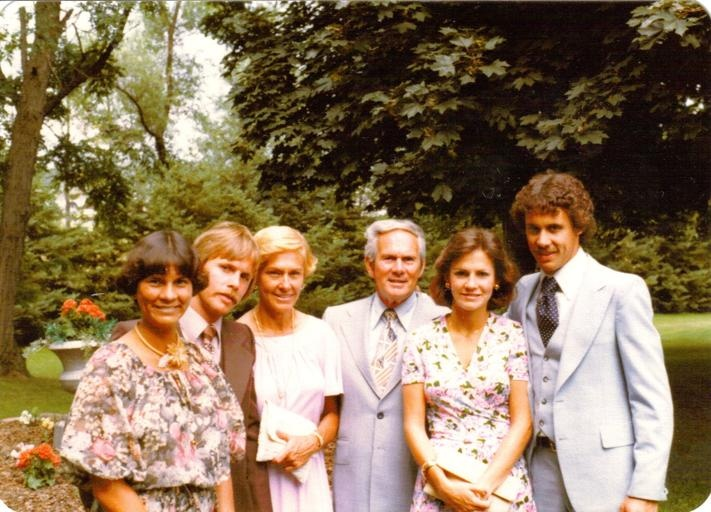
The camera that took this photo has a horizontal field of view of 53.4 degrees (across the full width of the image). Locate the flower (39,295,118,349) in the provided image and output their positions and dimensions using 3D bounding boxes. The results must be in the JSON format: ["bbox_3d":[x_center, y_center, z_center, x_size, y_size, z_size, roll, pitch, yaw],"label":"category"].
[{"bbox_3d":[-3.678,0.946,9.704,0.944,0.790,0.912,11,-10,-43],"label":"flower"}]

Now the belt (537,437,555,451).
[{"bbox_3d":[1.494,1.467,5.582,0.101,0.055,0.130,22,-9,-30],"label":"belt"}]
